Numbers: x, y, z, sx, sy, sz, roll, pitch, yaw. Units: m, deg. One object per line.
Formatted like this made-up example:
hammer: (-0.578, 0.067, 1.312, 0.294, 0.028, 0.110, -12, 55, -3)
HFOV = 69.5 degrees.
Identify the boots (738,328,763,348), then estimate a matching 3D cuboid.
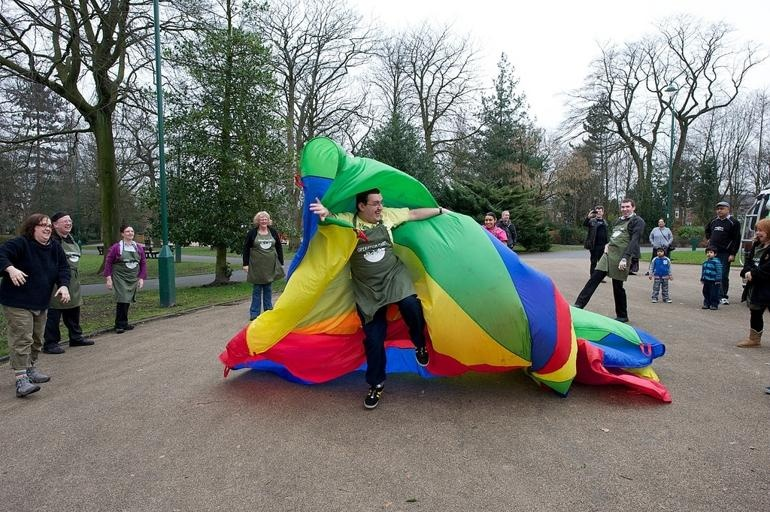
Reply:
boots: (6.080, 1.350, 9.271, 0.327, 0.317, 0.438, 3, 6, 34)

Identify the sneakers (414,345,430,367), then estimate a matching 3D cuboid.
sneakers: (0.503, 1.382, 7.623, 0.114, 0.131, 0.323, 0, 25, 1)

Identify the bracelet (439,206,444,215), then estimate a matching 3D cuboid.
bracelet: (0.797, -0.645, 7.981, 0.077, 0.080, 0.081, 1, 14, 2)

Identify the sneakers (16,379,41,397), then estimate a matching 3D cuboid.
sneakers: (-5.032, 1.855, 7.800, 0.267, 0.237, 0.163, -2, 5, -28)

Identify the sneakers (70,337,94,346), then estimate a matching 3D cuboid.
sneakers: (-5.563, 1.563, 10.056, 0.449, 0.210, 0.158, 0, 6, -17)

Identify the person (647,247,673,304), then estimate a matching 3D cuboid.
person: (6.617, 0.412, 13.359, 0.492, 1.291, 1.744, 3, 5, 28)

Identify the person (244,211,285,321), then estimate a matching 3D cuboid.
person: (-2.582, 0.213, 11.743, 0.816, 2.266, 0.927, -1, 5, -15)

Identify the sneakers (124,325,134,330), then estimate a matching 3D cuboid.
sneakers: (-5.158, 1.445, 11.188, 0.051, 0.071, 0.175, 0, 6, -4)

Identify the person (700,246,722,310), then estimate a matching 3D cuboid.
person: (7.203, 0.492, 12.269, 0.354, 1.320, 0.529, 3, 6, 34)

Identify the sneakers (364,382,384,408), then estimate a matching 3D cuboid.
sneakers: (-0.148, 1.859, 7.505, 0.214, 0.314, 0.414, 4, 6, 38)

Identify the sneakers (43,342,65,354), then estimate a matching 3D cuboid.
sneakers: (-5.703, 1.596, 9.571, 0.394, 0.172, 0.152, 3, 7, 11)

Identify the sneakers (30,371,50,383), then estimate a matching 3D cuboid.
sneakers: (-5.109, 1.802, 8.239, 0.299, 0.150, 0.124, 6, 11, 0)
